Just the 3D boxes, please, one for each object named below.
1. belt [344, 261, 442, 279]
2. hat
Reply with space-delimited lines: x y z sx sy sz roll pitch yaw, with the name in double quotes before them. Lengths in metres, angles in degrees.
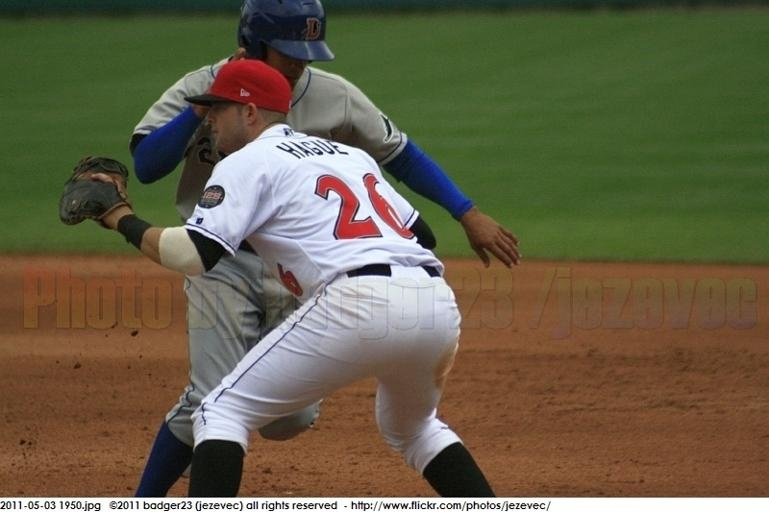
"belt" 0.078 0.112 8.986 0.693 0.111 0.085 2 16 -18
"hat" -1.035 -1.236 9.086 0.614 0.275 0.363 13 11 5
